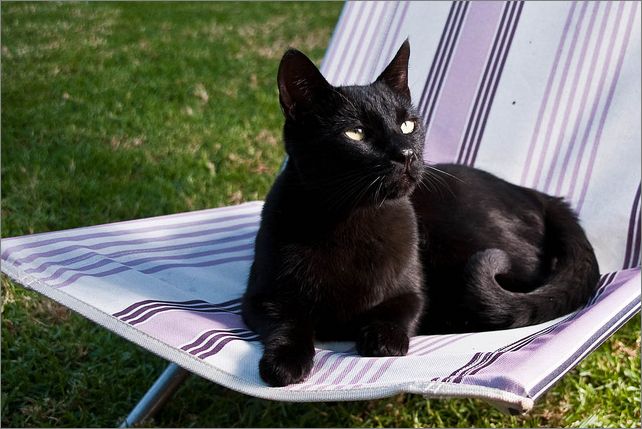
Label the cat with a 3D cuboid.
[{"bbox_3d":[0.301,-0.364,2.886,1.520,1.304,1.055,-8,0,-12],"label":"cat"}]
